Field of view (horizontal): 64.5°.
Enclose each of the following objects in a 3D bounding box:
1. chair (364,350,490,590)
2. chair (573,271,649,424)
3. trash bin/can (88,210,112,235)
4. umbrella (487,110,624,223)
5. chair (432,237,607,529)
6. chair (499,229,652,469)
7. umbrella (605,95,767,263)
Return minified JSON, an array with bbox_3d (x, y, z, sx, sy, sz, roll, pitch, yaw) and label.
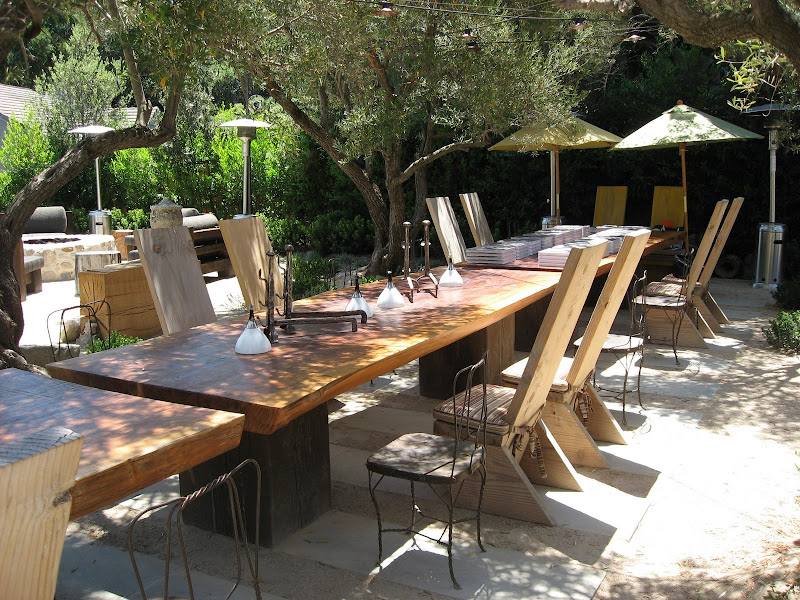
[{"bbox_3d":[0.139,0.688,2.782,0.491,0.964,0.462,7,9,36],"label":"chair"},{"bbox_3d":[1.592,0.388,4.919,0.497,1.030,0.501,1,3,16],"label":"chair"},{"bbox_3d":[-6.337,-1.644,13.537,0.474,0.686,0.487,1,4,1],"label":"trash bin/can"},{"bbox_3d":[2.097,-1.671,8.539,1.265,1.419,1.170,7,15,17],"label":"umbrella"},{"bbox_3d":[0.576,0.451,3.407,0.908,1.272,0.728,-1,2,34],"label":"chair"},{"bbox_3d":[0.981,0.317,3.928,0.933,1.285,0.786,1,7,38],"label":"chair"},{"bbox_3d":[2.951,-1.590,7.583,1.851,2.222,1.931,-4,12,11],"label":"umbrella"}]
